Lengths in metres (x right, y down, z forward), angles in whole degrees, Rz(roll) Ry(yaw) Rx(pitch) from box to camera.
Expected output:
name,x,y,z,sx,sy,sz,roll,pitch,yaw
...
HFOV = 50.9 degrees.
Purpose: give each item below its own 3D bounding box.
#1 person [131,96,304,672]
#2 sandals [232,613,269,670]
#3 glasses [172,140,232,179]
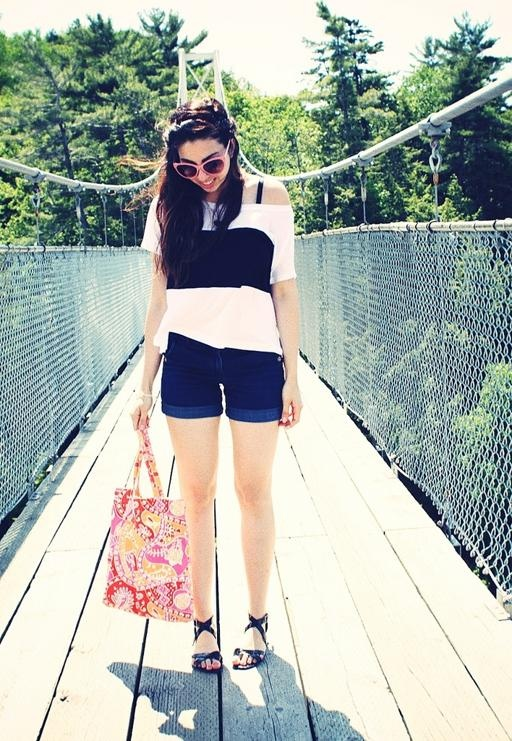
name,x,y,z,sx,sy,sz,roll,pitch,yaw
person,-0.109,0.065,1.319,0.436,1.359,0.302,-1,3,5
sandals,-0.021,0.691,1.371,0.047,0.070,0.158,-1,-8,6
glasses,-0.120,-0.456,1.176,0.115,0.068,0.041,-2,3,-12
